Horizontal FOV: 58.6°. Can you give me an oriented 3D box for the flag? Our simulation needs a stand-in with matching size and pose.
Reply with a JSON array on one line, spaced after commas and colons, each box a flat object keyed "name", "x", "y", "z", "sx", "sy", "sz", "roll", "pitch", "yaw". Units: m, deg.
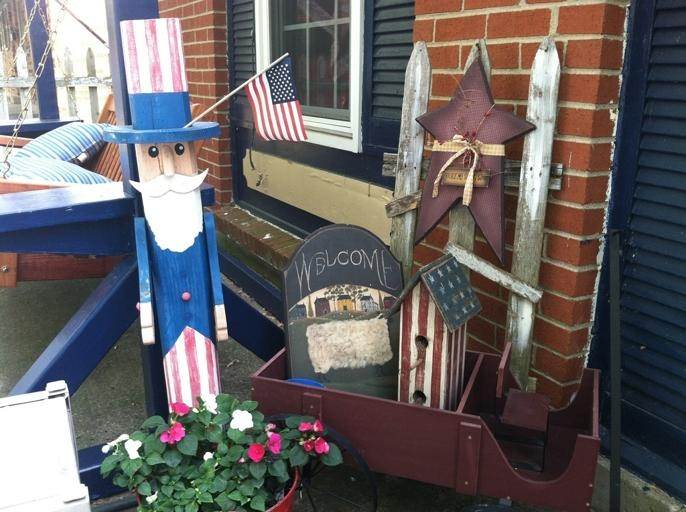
[{"name": "flag", "x": -0.301, "y": -0.700, "z": 2.718, "sx": 0.269, "sy": 0.361, "sz": 0.157, "roll": 2, "pitch": 14, "yaw": 3}]

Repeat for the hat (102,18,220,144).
[{"name": "hat", "x": -0.784, "y": -0.711, "z": 2.579, "sx": 0.460, "sy": 0.527, "sz": 0.446, "roll": -6, "pitch": 7, "yaw": -10}]
